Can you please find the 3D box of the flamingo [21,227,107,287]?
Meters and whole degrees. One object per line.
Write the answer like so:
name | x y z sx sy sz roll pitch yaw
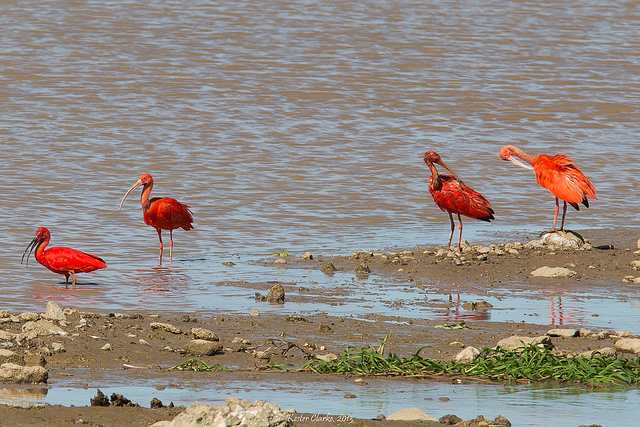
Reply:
flamingo | -7.699 1.417 29.588 2.164 1.207 1.107 29 52 31
